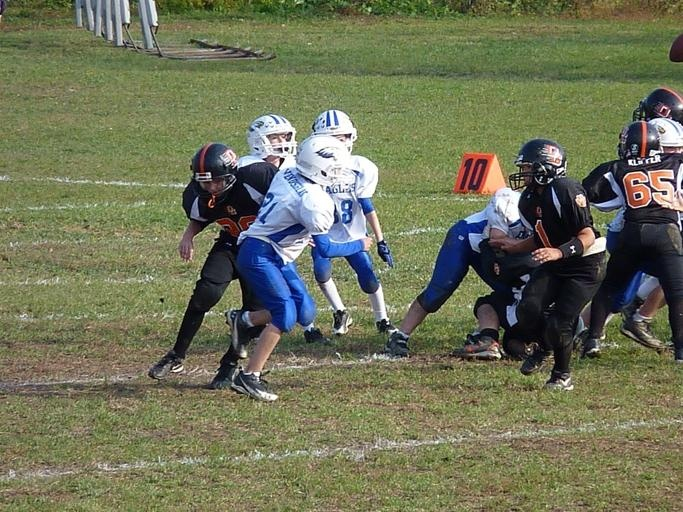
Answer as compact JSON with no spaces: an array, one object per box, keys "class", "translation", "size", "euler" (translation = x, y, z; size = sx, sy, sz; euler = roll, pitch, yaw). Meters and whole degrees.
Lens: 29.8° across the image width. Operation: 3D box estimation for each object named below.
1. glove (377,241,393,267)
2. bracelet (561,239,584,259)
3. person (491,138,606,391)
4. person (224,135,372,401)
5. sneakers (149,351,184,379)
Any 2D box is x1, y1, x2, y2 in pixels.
[{"class":"glove","translation":[0.498,-0.024,15.681],"size":[0.235,0.302,0.126],"euler":[-1,1,-20]},{"class":"bracelet","translation":[2.473,-0.088,14.021],"size":[0.253,0.189,0.116],"euler":[-5,16,-28]},{"class":"person","translation":[2.280,0.084,14.362],"size":[1.017,2.704,0.894],"euler":[13,18,36]},{"class":"person","translation":[-0.614,0.124,14.260],"size":[1.317,2.859,0.701],"euler":[-8,18,-36]},{"class":"sneakers","translation":[-1.899,1.215,14.474],"size":[0.203,0.218,0.497],"euler":[41,36,22]}]
